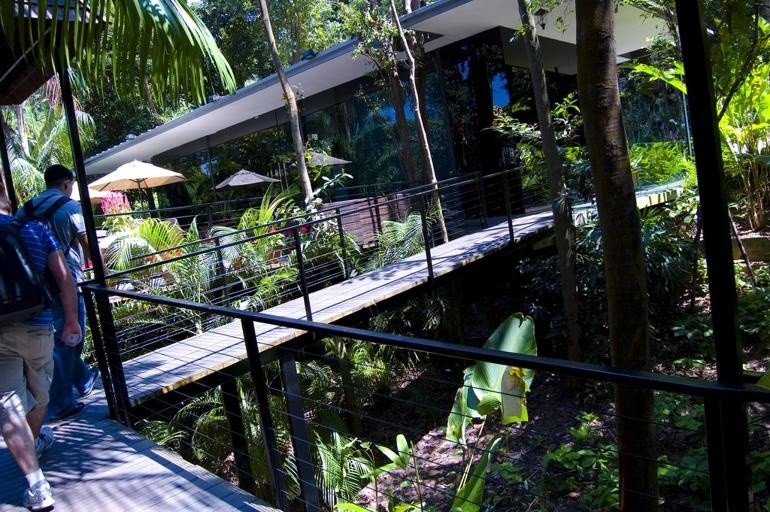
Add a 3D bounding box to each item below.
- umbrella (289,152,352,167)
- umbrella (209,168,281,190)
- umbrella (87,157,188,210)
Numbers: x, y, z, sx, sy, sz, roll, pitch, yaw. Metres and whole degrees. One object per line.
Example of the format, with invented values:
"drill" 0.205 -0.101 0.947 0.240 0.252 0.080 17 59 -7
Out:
"umbrella" -1.430 -2.569 13.956 1.012 0.451 1.568 -1 7 -4
"umbrella" -4.108 -2.307 15.634 1.390 0.524 1.801 -1 7 -11
"umbrella" -6.568 -2.065 13.991 1.481 0.767 1.431 -13 0 -32
